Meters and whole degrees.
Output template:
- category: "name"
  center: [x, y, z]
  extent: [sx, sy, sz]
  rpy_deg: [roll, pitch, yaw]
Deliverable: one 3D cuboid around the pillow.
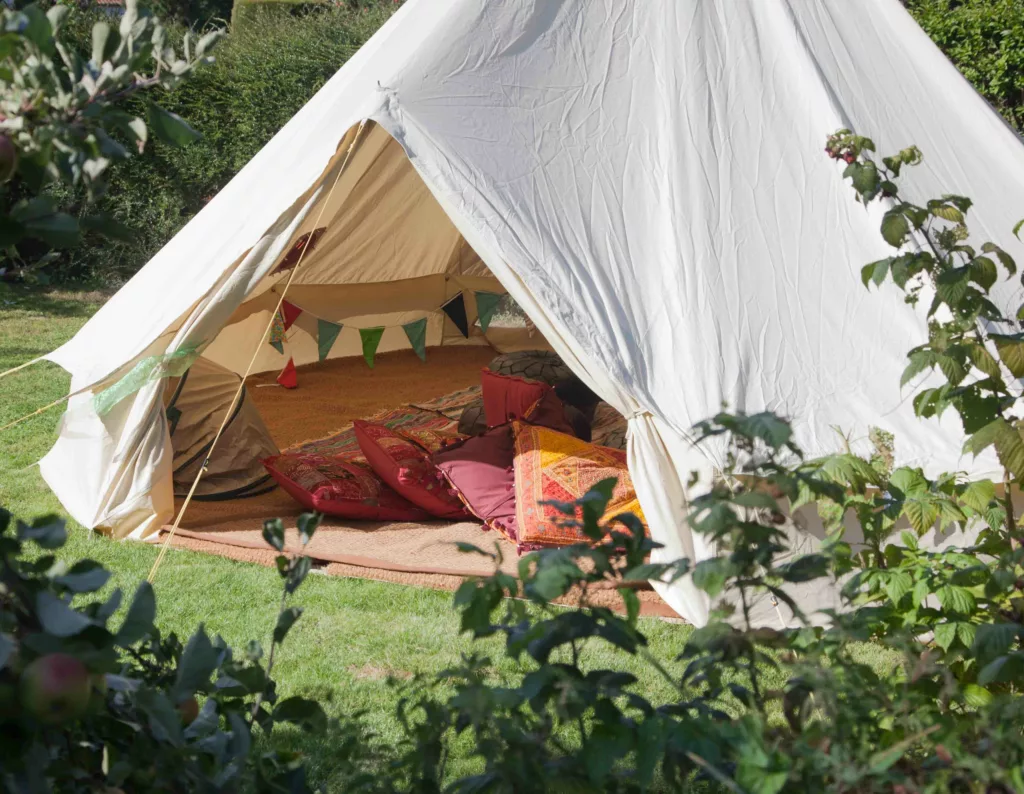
- category: "pillow"
  center: [-0.360, 0.425, 4.557]
  extent: [1.099, 0.286, 0.901]
  rpy_deg: [-6, 18, -24]
